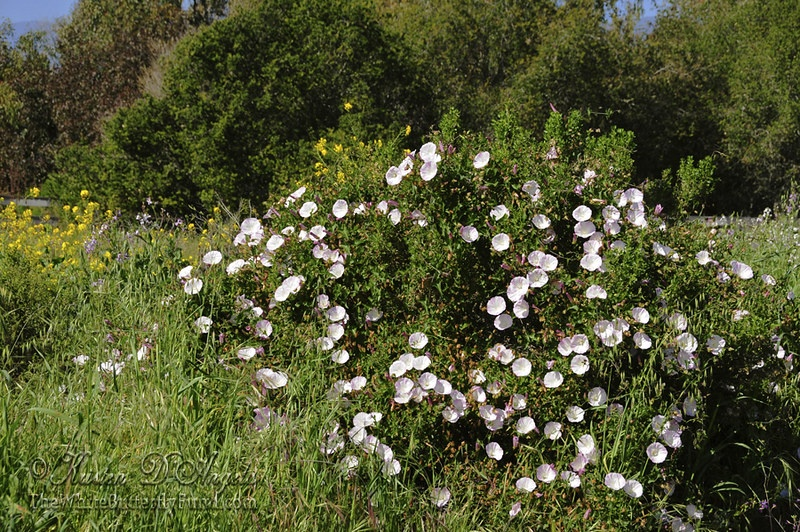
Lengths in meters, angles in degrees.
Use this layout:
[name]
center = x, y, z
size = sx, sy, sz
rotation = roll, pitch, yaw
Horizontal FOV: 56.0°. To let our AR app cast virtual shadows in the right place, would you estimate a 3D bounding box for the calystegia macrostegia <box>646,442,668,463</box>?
[calystegia macrostegia]
center = 2.684, 1.968, 7.844
size = 0.197, 0.240, 0.123
rotation = -12, 20, -10
